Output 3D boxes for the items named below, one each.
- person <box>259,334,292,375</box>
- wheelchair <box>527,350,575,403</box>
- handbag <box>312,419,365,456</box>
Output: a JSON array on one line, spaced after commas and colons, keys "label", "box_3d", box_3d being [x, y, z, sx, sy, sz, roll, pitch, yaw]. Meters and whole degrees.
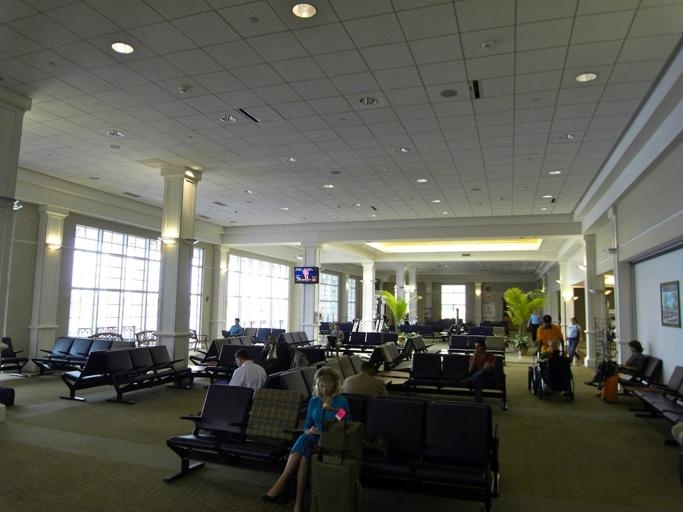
[{"label": "person", "box_3d": [-1.397, 2.220, 10.281, 0.659, 0.872, 0.691, -23, 2, -22]}, {"label": "wheelchair", "box_3d": [4.867, 2.726, 10.542, 0.818, 0.918, 1.236, -2, -10, 6]}, {"label": "handbag", "box_3d": [0.013, 1.754, 4.616, 0.437, 0.346, 0.415, 1, -3, 34]}]
